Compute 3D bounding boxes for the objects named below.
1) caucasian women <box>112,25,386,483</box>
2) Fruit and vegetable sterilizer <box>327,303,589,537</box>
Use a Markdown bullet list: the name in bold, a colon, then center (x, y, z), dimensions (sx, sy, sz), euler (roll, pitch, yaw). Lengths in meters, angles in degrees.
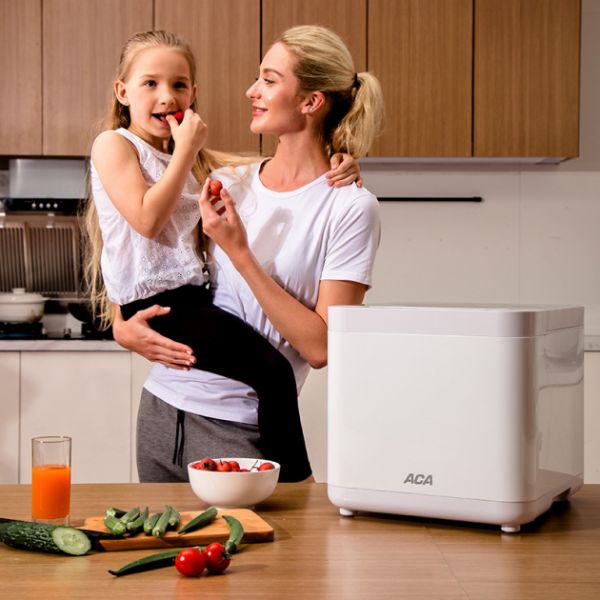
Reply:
- **caucasian women**: center (-0.089, 0.023, 1.582), dimensions (0.448, 0.994, 0.457), euler (0, 8, -26)
- **Fruit and vegetable sterilizer**: center (0.242, 0.163, 1.178), dimensions (0.282, 0.298, 0.297), euler (-1, -3, 35)
